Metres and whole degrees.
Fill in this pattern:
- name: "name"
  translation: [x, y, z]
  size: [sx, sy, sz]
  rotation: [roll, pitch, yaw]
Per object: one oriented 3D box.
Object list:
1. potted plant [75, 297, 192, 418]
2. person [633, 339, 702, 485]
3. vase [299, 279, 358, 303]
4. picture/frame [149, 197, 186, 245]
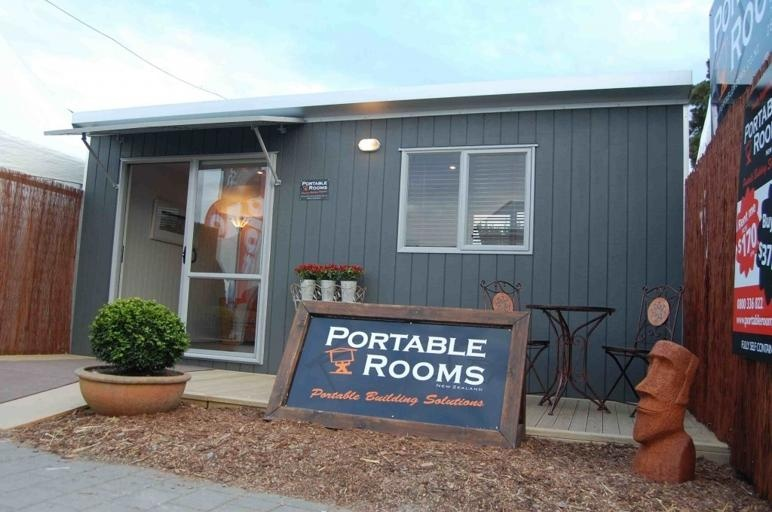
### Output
- name: "potted plant"
  translation: [-2.530, 1.053, 5.857]
  size: [1.246, 1.329, 1.093]
  rotation: [2, -7, -3]
- name: "person"
  translation: [2.240, 1.242, 4.458]
  size: [0.471, 1.047, 0.440]
  rotation: [6, 10, 30]
- name: "vase"
  translation: [-0.727, 0.465, 7.163]
  size: [0.631, 0.176, 0.323]
  rotation: [-1, -9, 3]
- name: "picture/frame"
  translation: [-3.673, -0.586, 9.321]
  size: [0.090, 0.478, 0.850]
  rotation: [-2, -7, 19]
